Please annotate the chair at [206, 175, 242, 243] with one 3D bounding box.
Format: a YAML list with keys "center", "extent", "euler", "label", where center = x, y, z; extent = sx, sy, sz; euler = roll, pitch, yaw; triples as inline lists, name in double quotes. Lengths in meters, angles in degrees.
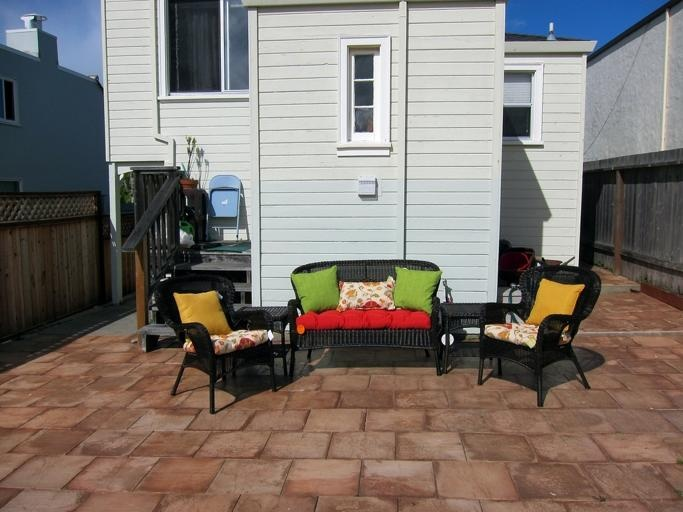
- center: [-1.850, -0.780, 8.146]
  extent: [0.609, 1.038, 0.397]
  euler: [-4, 12, -12]
  label: "chair"

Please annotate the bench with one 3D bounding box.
- center: [0.258, 0.609, 5.696]
  extent: [1.633, 0.973, 0.926]
  euler: [-2, 11, 4]
  label: "bench"

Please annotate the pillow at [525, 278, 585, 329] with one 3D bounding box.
- center: [2.173, 0.500, 5.194]
  extent: [0.142, 0.440, 0.490]
  euler: [22, -1, -21]
  label: "pillow"

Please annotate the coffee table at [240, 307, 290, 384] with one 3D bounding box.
- center: [-1.082, 0.981, 6.221]
  extent: [0.799, 0.779, 0.917]
  euler: [6, 2, -2]
  label: "coffee table"

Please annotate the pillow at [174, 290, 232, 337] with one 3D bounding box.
- center: [-1.445, 0.601, 5.277]
  extent: [0.592, 0.245, 0.456]
  euler: [-1, 41, -44]
  label: "pillow"

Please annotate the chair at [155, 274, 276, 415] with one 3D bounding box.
- center: [-1.311, 0.804, 5.279]
  extent: [0.988, 0.990, 1.007]
  euler: [-6, 12, -37]
  label: "chair"

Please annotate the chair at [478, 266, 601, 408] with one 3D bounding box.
- center: [1.967, 0.708, 5.218]
  extent: [1.122, 1.065, 1.039]
  euler: [-2, 7, -3]
  label: "chair"

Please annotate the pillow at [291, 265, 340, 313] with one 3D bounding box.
- center: [-0.287, 0.387, 5.847]
  extent: [0.585, 0.248, 0.469]
  euler: [-8, 40, -14]
  label: "pillow"

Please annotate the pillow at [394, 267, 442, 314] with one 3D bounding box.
- center: [0.842, 0.375, 5.818]
  extent: [0.570, 0.435, 0.289]
  euler: [5, 18, 41]
  label: "pillow"
